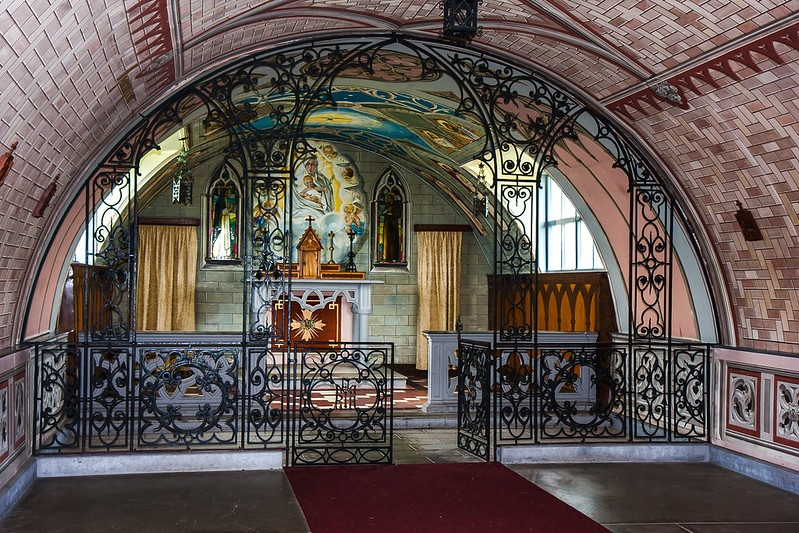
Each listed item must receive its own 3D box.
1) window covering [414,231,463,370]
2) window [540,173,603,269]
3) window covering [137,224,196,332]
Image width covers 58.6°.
[{"bbox_3d":[0.899,0.743,15.738,1.012,3.043,0.435,0,-5,2],"label":"window covering"},{"bbox_3d":[2.864,-0.740,11.723,0.178,1.831,1.689,-3,5,-24],"label":"window"},{"bbox_3d":[-4.751,0.212,14.654,1.146,2.141,0.339,2,-5,-20],"label":"window covering"}]
